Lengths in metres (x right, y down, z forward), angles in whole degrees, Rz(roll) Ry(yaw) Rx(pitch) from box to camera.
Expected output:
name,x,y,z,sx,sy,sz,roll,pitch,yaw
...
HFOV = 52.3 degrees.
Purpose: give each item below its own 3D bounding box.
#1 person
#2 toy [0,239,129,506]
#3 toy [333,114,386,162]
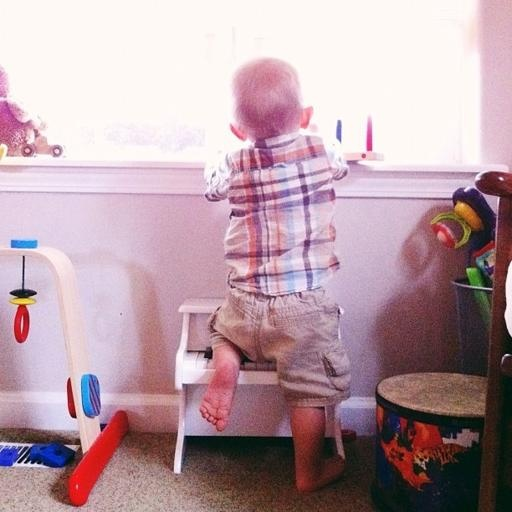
name,x,y,z,sx,sy,sz,roll,pitch,yaw
person,0.049,0.045,1.216,0.343,0.974,0.341,0,10,-3
toy,-0.498,0.239,1.265,0.279,0.555,0.399,1,9,1
toy,0.258,-0.323,1.431,0.134,0.109,0.131,-7,20,-16
